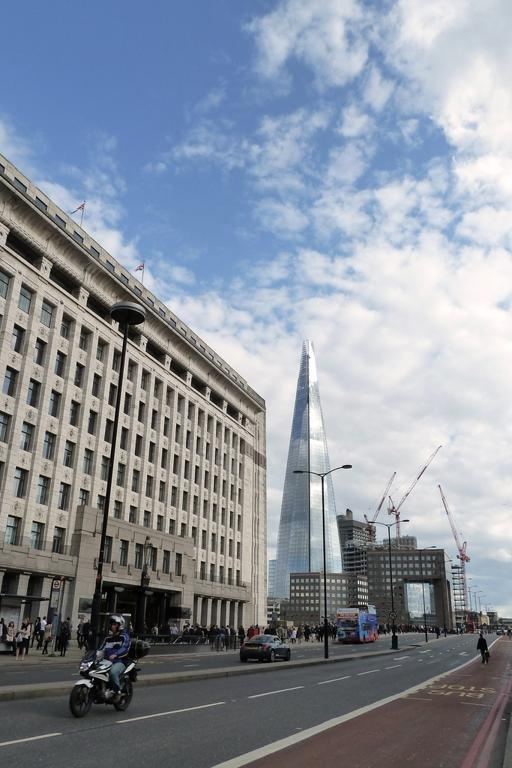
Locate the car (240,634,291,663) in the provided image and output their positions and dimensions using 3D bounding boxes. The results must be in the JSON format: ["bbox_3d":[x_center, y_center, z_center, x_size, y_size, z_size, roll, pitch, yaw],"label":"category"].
[{"bbox_3d":[0.502,13.932,26.564,2.741,1.303,3.172,-10,-24,24],"label":"car"}]

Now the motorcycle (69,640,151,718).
[{"bbox_3d":[-2.629,5.179,8.904,0.523,1.079,1.705,-16,-30,20],"label":"motorcycle"}]

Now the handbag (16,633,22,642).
[{"bbox_3d":[-10.022,10.827,21.523,0.221,0.491,0.476,3,-24,-22],"label":"handbag"}]
